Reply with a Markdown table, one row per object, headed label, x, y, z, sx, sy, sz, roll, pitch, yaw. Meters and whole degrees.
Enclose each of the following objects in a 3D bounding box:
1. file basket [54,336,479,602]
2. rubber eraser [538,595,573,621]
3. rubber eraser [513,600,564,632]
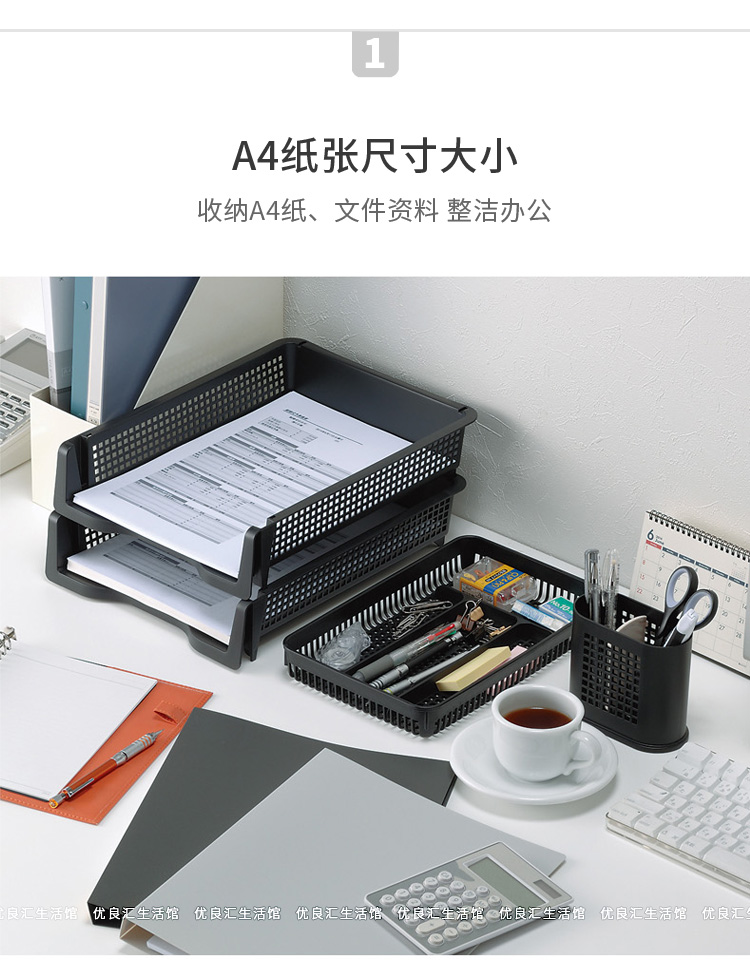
| label | x | y | z | sx | sy | sz | roll | pitch | yaw |
| --- | --- | --- | --- | --- | --- | --- | --- | --- | --- |
| file basket | -0.141 | -0.048 | 1.112 | 0.317 | 0.108 | 0.415 | 30 | 46 | 35 |
| rubber eraser | 0.196 | 0.126 | 0.955 | 0.025 | 0.005 | 0.023 | -28 | 44 | -30 |
| rubber eraser | 0.172 | 0.133 | 0.954 | 0.041 | 0.008 | 0.023 | 28 | 44 | 32 |
